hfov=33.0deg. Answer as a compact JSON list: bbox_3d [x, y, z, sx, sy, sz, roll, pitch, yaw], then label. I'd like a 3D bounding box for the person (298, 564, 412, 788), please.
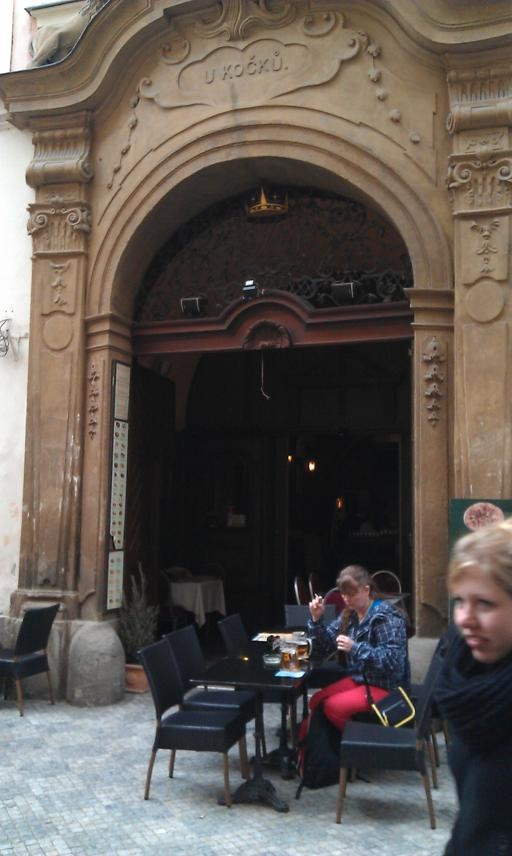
[{"bbox_3d":[0.565,1.364,4.760,0.583,1.128,0.534,6,-17,0],"label":"person"}]

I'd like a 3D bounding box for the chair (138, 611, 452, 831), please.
[{"bbox_3d":[0.428,1.521,4.501,1.175,0.810,0.813,-2,-4,21],"label":"chair"}]

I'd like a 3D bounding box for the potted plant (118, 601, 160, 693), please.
[{"bbox_3d":[-1.016,1.709,7.167,0.364,0.898,0.369,-12,-18,38],"label":"potted plant"}]

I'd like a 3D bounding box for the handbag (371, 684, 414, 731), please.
[{"bbox_3d":[0.710,1.443,4.474,0.176,0.179,0.059,-33,-24,-26],"label":"handbag"}]

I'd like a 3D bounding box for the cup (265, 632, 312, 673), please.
[{"bbox_3d":[0.184,1.244,4.792,0.248,0.268,0.153,-3,-5,7],"label":"cup"}]

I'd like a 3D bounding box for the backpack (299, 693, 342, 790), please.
[{"bbox_3d":[0.340,1.704,4.671,0.158,0.400,0.290,9,0,-31],"label":"backpack"}]
